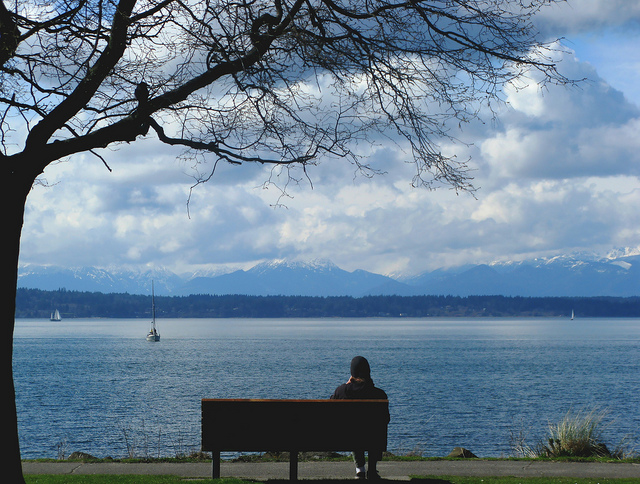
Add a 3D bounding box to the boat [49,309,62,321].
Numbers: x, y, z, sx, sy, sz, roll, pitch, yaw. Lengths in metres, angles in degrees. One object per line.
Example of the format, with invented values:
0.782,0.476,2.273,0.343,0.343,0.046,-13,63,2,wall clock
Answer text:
-78.552,21.863,409.611,4.363,5.050,1.401,0,-7,3,boat
